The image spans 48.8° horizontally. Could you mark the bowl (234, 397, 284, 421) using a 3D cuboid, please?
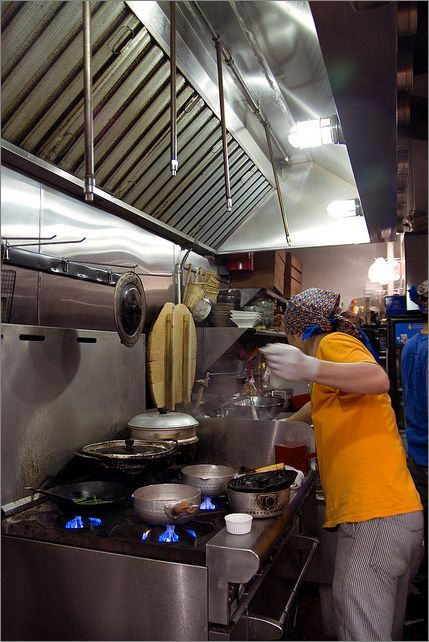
[{"bbox_3d":[0.307,0.589,3.134,0.237,0.091,0.230,-2,-2,0],"label":"bowl"}]

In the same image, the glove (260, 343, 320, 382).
[{"bbox_3d":[0.197,0.109,1.239,0.145,0.098,0.084,-3,-3,43],"label":"glove"}]

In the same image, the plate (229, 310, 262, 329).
[{"bbox_3d":[0.236,-0.015,3.261,0.217,0.136,0.277,0,-2,-17],"label":"plate"}]

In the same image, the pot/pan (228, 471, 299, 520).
[{"bbox_3d":[0.149,0.490,1.378,0.112,0.069,0.194,-3,-6,22],"label":"pot/pan"}]

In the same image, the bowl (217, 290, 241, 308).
[{"bbox_3d":[0.109,-0.167,3.503,0.151,0.114,0.138,1,-6,0],"label":"bowl"}]

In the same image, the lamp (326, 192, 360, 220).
[{"bbox_3d":[0.759,-0.664,2.760,0.202,0.099,0.117,-2,-2,13],"label":"lamp"}]

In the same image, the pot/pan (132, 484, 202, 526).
[{"bbox_3d":[-0.122,0.485,1.258,0.097,0.061,0.169,-2,-18,14],"label":"pot/pan"}]

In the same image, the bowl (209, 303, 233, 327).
[{"bbox_3d":[0.044,-0.047,3.280,0.155,0.125,0.156,1,-8,0],"label":"bowl"}]

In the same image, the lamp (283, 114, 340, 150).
[{"bbox_3d":[0.440,-0.809,2.059,0.259,0.132,0.129,-2,-3,33],"label":"lamp"}]

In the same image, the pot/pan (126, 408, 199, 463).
[{"bbox_3d":[-0.198,0.394,1.722,0.247,0.172,0.211,-3,-9,15],"label":"pot/pan"}]

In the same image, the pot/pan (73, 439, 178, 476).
[{"bbox_3d":[-0.289,0.428,1.543,0.290,0.087,0.342,-1,-2,6],"label":"pot/pan"}]

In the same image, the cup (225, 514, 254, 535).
[{"bbox_3d":[0.060,0.495,1.162,0.060,0.039,0.123,-1,-2,8],"label":"cup"}]

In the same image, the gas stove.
[{"bbox_3d":[-0.202,0.517,1.280,0.458,0.108,0.480,-1,-2,10],"label":"gas stove"}]
